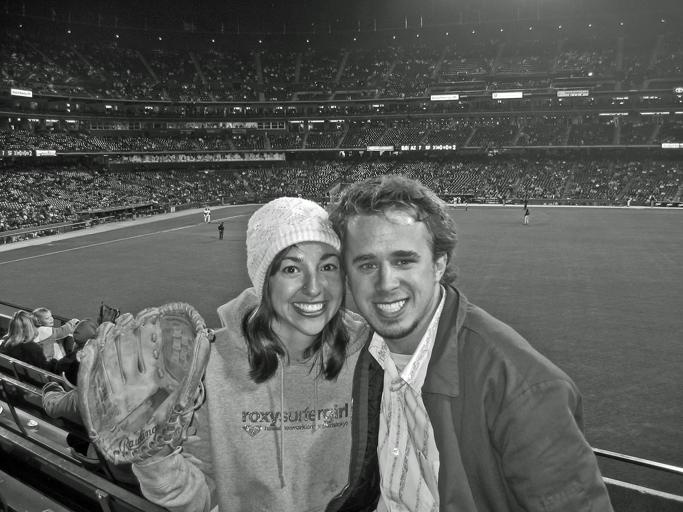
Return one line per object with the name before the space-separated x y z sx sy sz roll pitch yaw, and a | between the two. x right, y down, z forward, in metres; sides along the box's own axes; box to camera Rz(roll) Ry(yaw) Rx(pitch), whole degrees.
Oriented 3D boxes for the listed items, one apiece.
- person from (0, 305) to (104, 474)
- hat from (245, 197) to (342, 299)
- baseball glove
person | -2.653 1.177 4.931 1.027 0.479 0.349 23 29 34
hat | -0.276 -0.061 3.543 0.590 0.654 0.517 -2 3 44
baseball glove | -0.901 0.646 2.744 0.628 0.818 0.356 22 -8 33
